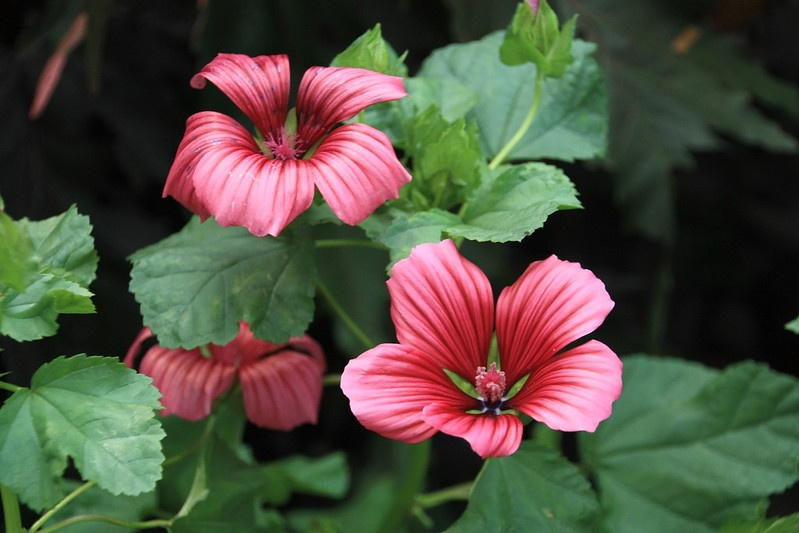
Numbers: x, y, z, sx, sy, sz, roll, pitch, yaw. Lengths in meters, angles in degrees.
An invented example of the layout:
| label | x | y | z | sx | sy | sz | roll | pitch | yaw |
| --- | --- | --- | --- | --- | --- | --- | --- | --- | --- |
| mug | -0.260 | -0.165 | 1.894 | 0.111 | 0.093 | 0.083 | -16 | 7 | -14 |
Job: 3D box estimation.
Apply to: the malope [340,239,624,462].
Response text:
| label | x | y | z | sx | sy | sz | roll | pitch | yaw |
| --- | --- | --- | --- | --- | --- | --- | --- | --- | --- |
| malope | 0.114 | 0.115 | 1.019 | 0.387 | 0.219 | 0.239 | -1 | 30 | -6 |

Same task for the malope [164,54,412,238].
| label | x | y | z | sx | sy | sz | roll | pitch | yaw |
| --- | --- | --- | --- | --- | --- | --- | --- | --- | --- |
| malope | -0.159 | -0.152 | 1.103 | 0.357 | 0.270 | 0.303 | 3 | 30 | 0 |
